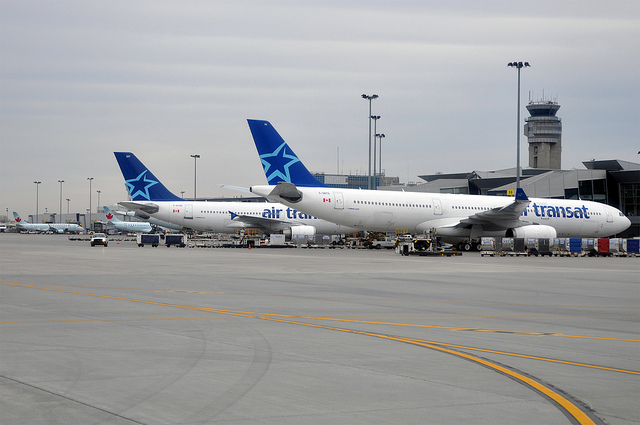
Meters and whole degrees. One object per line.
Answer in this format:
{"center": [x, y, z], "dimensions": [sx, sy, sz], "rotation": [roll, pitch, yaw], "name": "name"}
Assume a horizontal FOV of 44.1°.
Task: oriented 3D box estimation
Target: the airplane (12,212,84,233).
{"center": [-57.960, 2.465, 167.120], "dimensions": [11.202, 3.221, 26.035], "rotation": [-1, 1, -24], "name": "airplane"}

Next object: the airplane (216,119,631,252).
{"center": [9.602, -1.265, 56.050], "dimensions": [30.999, 6.959, 27.663], "rotation": [3, 3, -22], "name": "airplane"}

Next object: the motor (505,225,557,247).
{"center": [14.489, 1.428, 53.942], "dimensions": [3.554, 1.168, 1.279], "rotation": [-1, 1, -10], "name": "motor"}

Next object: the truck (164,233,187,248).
{"center": [-12.189, 2.392, 66.597], "dimensions": [2.067, 0.885, 1.334], "rotation": [2, 0, 8], "name": "truck"}

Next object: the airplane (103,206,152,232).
{"center": [-26.491, 1.075, 107.541], "dimensions": [7.697, 2.629, 6.565], "rotation": [1, 8, -38], "name": "airplane"}
